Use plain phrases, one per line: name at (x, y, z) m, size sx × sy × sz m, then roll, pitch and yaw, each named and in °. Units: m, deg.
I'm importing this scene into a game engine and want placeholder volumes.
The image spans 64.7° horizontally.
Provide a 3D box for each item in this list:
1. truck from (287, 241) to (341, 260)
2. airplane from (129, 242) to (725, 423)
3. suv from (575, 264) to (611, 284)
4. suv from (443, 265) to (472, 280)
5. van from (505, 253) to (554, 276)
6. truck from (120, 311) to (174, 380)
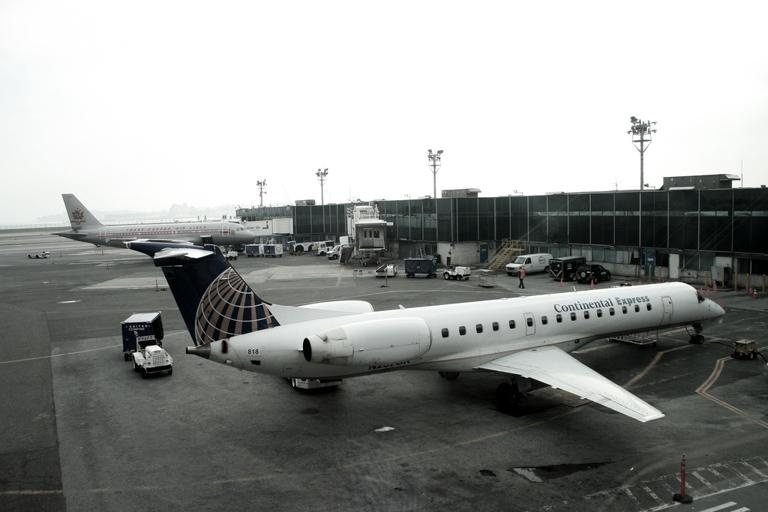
truck at (-12.426, -0.163, 102.066) m, size 7.360 × 1.864 × 4.310 m, roll -1°, pitch 6°, yaw 7°
airplane at (1.992, 3.744, 29.591) m, size 16.388 × 3.759 × 13.162 m, roll -5°, pitch 9°, yaw -27°
suv at (20.806, 1.798, 59.451) m, size 3.253 × 1.325 × 1.676 m, roll -10°, pitch 12°, yaw -33°
suv at (7.826, 1.936, 63.874) m, size 2.348 × 1.114 × 1.523 m, roll 6°, pitch 7°, yaw 35°
van at (15.723, 0.883, 66.182) m, size 4.760 × 1.583 × 2.558 m, roll -6°, pitch 6°, yaw -31°
truck at (-14.148, 5.389, 36.471) m, size 2.502 × 2.354 × 4.778 m, roll -4°, pitch 5°, yaw -27°
